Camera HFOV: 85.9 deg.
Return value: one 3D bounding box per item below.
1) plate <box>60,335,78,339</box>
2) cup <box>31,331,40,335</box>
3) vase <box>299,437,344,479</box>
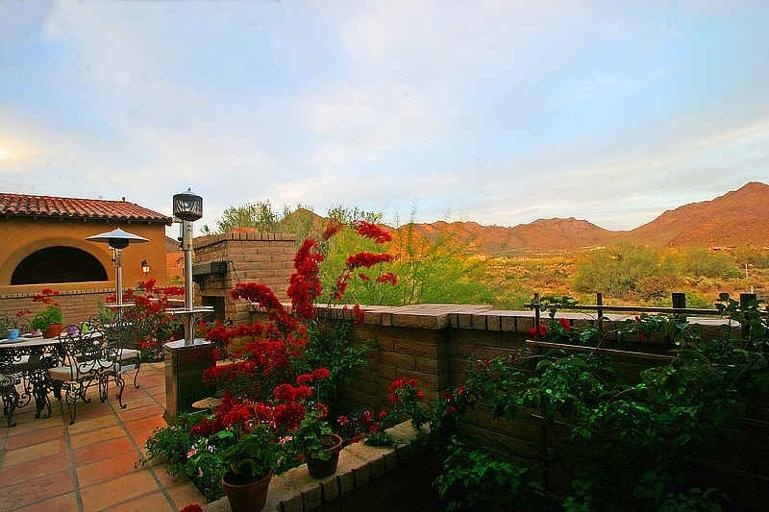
[{"bbox_3d":[-4.161,1.014,5.199,0.120,0.021,0.106,-1,-2,10],"label":"plate"},{"bbox_3d":[-5.362,1.127,6.056,0.099,0.053,0.083,4,-8,-26],"label":"cup"},{"bbox_3d":[-0.503,1.557,3.205,0.356,0.198,0.309,-2,-5,6],"label":"vase"}]
